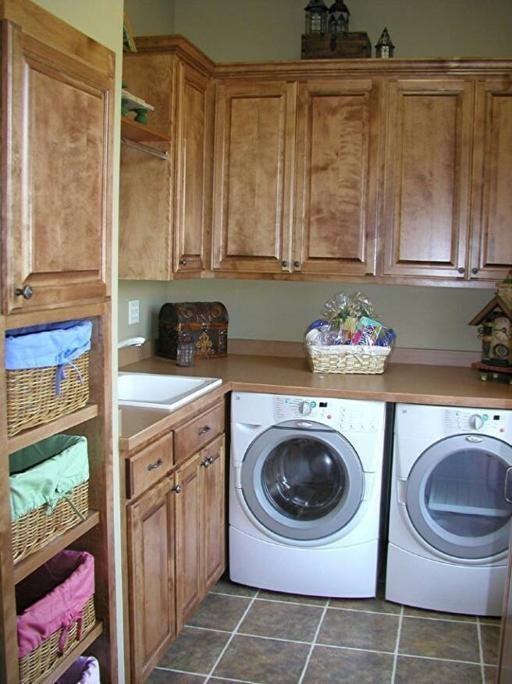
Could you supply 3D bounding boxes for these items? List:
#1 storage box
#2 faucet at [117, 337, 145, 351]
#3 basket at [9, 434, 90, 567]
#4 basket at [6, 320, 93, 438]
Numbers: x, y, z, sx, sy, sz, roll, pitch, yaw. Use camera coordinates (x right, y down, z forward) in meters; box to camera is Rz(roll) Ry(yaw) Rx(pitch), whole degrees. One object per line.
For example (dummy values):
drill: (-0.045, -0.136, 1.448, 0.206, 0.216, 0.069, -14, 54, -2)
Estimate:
storage box: (-0.330, -0.095, 2.828, 0.285, 0.337, 0.360, 5, 8, 42)
faucet: (-0.593, 0.010, 2.584, 0.087, 0.057, 0.330, 1, 5, 7)
basket: (-0.463, 0.327, 1.111, 0.154, 0.151, 0.215, -1, 2, 11)
basket: (-0.403, 0.068, 1.030, 0.154, 0.191, 0.248, 2, 8, 14)
